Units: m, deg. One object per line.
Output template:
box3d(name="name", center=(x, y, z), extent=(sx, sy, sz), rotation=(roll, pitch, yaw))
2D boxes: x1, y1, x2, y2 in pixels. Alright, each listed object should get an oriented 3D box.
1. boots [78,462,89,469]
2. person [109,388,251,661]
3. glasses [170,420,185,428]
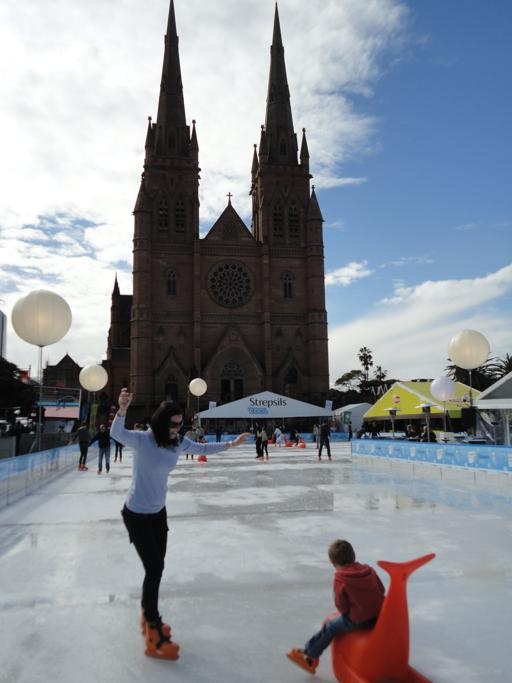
box3d(name="boots", center=(-6.255, 4.516, 19.997), extent=(0.258, 0.268, 0.691), rotation=(0, -7, -20))
box3d(name="person", center=(-0.637, 1.161, 3.789), extent=(0.537, 1.649, 0.688), rotation=(-4, -8, 10))
box3d(name="glasses", center=(-0.545, 0.568, 3.795), extent=(0.059, 0.040, 0.056), rotation=(1, -5, -8))
